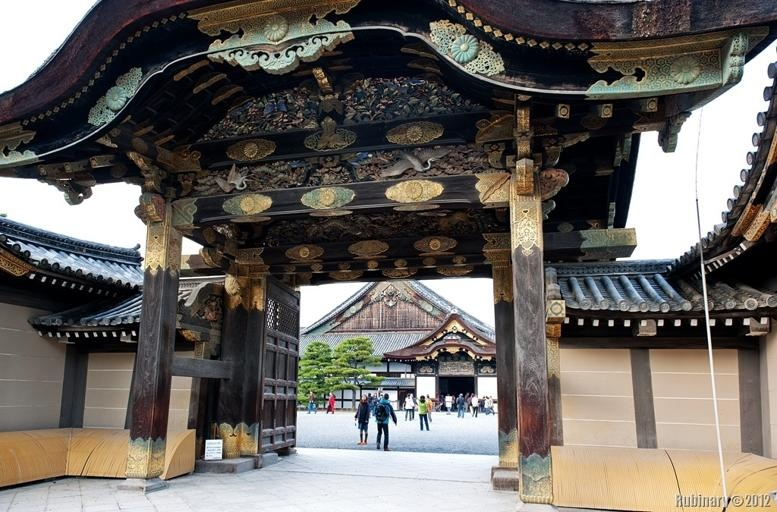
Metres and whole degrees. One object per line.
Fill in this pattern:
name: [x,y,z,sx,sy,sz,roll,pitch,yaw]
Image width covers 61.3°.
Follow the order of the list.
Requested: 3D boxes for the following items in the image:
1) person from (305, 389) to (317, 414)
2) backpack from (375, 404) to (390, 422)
person: [-3.633,6.874,31.154,0.416,1.030,1.154,4,-15,-7]
backpack: [-0.157,3.610,15.081,0.329,0.388,0.393,1,-26,2]
